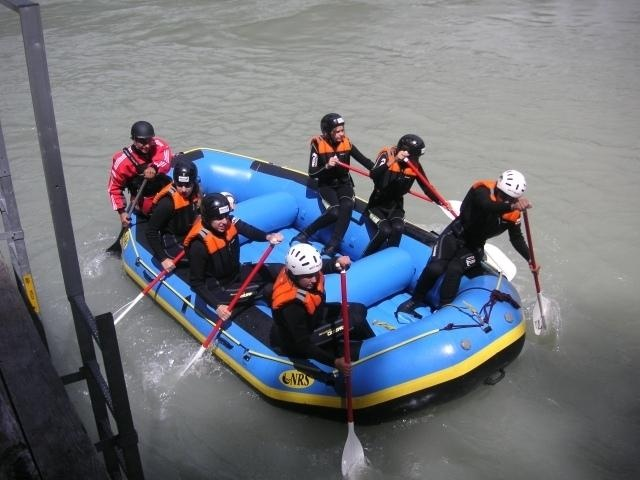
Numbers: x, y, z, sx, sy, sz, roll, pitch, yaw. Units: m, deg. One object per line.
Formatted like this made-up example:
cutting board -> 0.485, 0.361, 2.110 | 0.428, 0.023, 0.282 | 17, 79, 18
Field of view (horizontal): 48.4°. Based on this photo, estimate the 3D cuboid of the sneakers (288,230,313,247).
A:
sneakers -> -0.240, -0.033, 8.944 | 0.263, 0.094, 0.134 | -44, 29, 0

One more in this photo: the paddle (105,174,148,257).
paddle -> -2.445, -0.290, 9.071 | 0.241, 1.365, 0.147 | 37, 25, 11

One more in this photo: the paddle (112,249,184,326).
paddle -> -2.001, 0.583, 8.443 | 1.078, 0.052, 0.197 | -48, 48, -3

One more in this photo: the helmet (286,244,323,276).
helmet -> -0.143, 0.176, 6.927 | 0.261, 0.255, 0.351 | -23, 15, -35

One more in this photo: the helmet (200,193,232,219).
helmet -> -1.108, -0.341, 7.442 | 0.296, 0.264, 0.234 | -7, 20, 28

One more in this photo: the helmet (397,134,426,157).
helmet -> 1.082, -1.112, 8.319 | 0.292, 0.288, 0.228 | 5, 44, 25

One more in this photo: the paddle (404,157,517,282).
paddle -> 1.695, -0.196, 8.685 | 0.449, 2.616, 0.113 | -25, 37, 29

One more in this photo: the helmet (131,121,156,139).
helmet -> -2.181, -1.338, 8.681 | 0.254, 0.203, 0.202 | 0, 17, 35

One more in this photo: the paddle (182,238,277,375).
paddle -> -0.983, 0.764, 7.729 | 1.899, 0.141, 0.182 | -47, -3, 2
